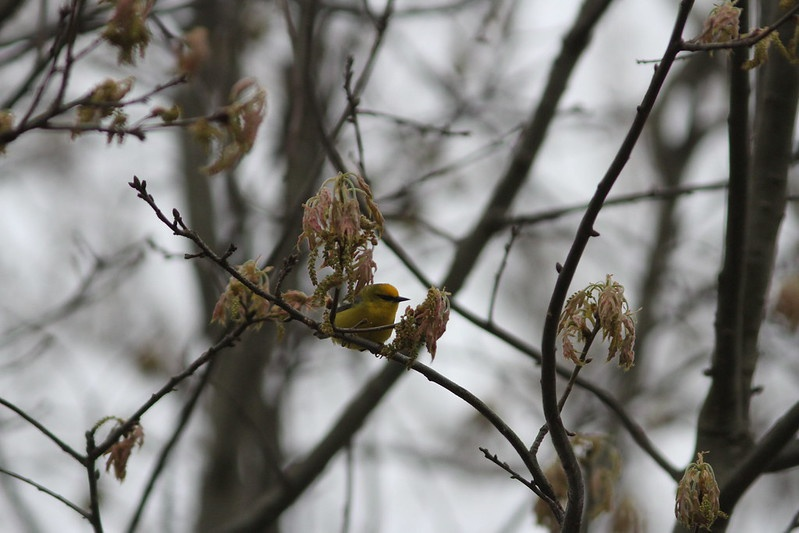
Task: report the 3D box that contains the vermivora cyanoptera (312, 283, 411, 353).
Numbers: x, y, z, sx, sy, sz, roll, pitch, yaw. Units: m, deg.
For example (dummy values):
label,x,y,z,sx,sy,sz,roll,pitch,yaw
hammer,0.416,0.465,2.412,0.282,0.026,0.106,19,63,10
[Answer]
label,x,y,z,sx,sy,sz,roll,pitch,yaw
vermivora cyanoptera,-0.339,0.503,12.465,0.609,0.814,0.680,37,-113,-34
